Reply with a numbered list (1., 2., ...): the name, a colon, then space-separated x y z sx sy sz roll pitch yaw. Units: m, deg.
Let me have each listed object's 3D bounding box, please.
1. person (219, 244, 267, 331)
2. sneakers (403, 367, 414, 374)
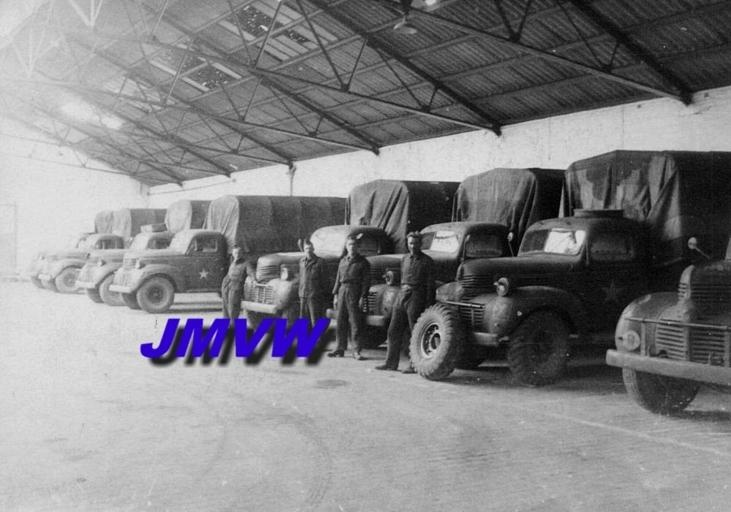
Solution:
1. person: -2.677 0.719 12.963 1.371 1.895 0.547 -18 -32 33
2. sneakers: 0.679 1.741 8.958 0.116 0.060 0.154 2 -3 17
